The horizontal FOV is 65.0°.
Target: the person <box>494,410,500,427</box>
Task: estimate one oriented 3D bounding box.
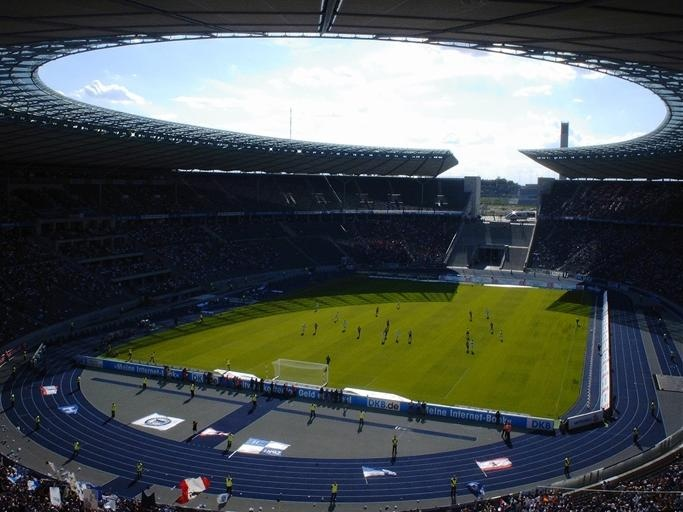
[{"bbox_3d":[8.472,8.715,28.799,0.298,0.661,0.472,1,25,2],"label":"person"}]

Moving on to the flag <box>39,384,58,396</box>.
[{"bbox_3d":[-18.020,8.298,33.009,0.639,0.157,0.623,20,12,28],"label":"flag"}]

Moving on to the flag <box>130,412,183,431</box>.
[{"bbox_3d":[-9.914,8.954,28.988,2.315,0.298,1.464,10,23,22],"label":"flag"}]
